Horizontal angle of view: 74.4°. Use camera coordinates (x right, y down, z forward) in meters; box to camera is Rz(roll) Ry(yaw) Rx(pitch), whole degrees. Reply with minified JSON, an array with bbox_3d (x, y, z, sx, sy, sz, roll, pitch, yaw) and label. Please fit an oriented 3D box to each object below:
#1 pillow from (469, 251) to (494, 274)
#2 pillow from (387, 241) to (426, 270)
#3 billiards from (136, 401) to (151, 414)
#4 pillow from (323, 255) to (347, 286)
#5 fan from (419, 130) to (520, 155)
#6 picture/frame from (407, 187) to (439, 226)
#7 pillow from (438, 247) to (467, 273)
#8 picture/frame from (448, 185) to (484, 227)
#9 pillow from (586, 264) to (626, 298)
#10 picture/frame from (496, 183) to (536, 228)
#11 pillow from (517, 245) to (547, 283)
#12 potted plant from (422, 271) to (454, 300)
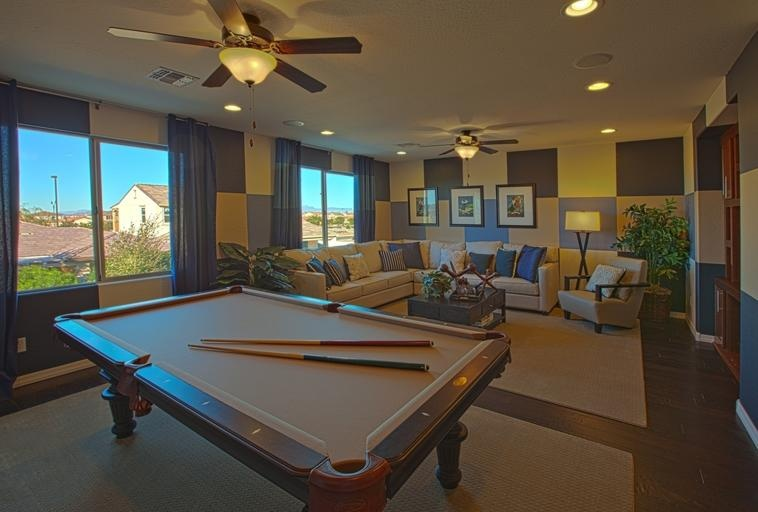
[{"bbox_3d":[1.567,0.107,7.567,0.366,0.325,0.127,5,-18,27],"label":"pillow"},{"bbox_3d":[0.542,-0.010,8.530,0.557,0.477,0.208,-3,-15,-3],"label":"pillow"},{"bbox_3d":[-1.561,1.019,3.334,0.102,0.082,0.094,1,4,-13],"label":"billiards"},{"bbox_3d":[-0.583,0.211,7.050,0.156,0.347,0.355,-32,-4,23],"label":"pillow"},{"bbox_3d":[1.210,-1.466,6.568,0.632,0.216,0.652,-1,-2,-39],"label":"fan"},{"bbox_3d":[0.833,-0.915,9.105,0.764,0.714,0.054,6,13,36],"label":"picture/frame"},{"bbox_3d":[1.169,0.061,7.822,0.426,0.384,0.158,-1,-24,40],"label":"pillow"},{"bbox_3d":[1.542,-0.884,8.663,0.852,0.862,0.062,0,0,31],"label":"picture/frame"},{"bbox_3d":[2.926,0.324,6.460,0.149,0.398,0.461,19,-5,-15],"label":"pillow"},{"bbox_3d":[2.266,-0.837,8.147,0.867,0.867,0.071,0,-2,33],"label":"picture/frame"},{"bbox_3d":[2.228,0.140,7.256,0.270,0.430,0.537,3,2,-13],"label":"pillow"},{"bbox_3d":[0.763,0.372,6.436,0.385,0.305,0.369,1,-4,13],"label":"potted plant"}]
